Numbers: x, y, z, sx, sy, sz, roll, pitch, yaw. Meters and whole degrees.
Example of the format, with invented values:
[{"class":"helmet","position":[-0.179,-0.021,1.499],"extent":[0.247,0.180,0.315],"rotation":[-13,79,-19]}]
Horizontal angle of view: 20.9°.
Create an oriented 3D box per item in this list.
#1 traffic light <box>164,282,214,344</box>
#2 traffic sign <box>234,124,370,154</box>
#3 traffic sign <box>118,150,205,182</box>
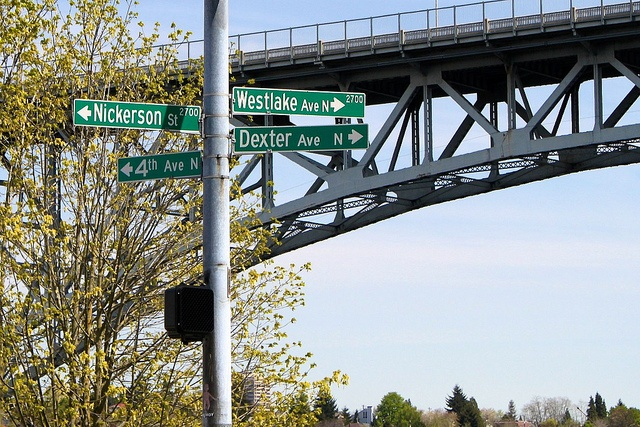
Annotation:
[{"class":"traffic light","position":[-2.680,2.173,37.733],"extent":[1.069,1.285,0.781],"rotation":[3,-13,-22]},{"class":"traffic sign","position":[-0.405,-1.641,38.819],"extent":[3.009,0.821,0.384],"rotation":[2,-17,-6]},{"class":"traffic sign","position":[-3.486,-1.015,38.675],"extent":[2.021,0.649,0.324],"rotation":[-4,-17,16]}]
